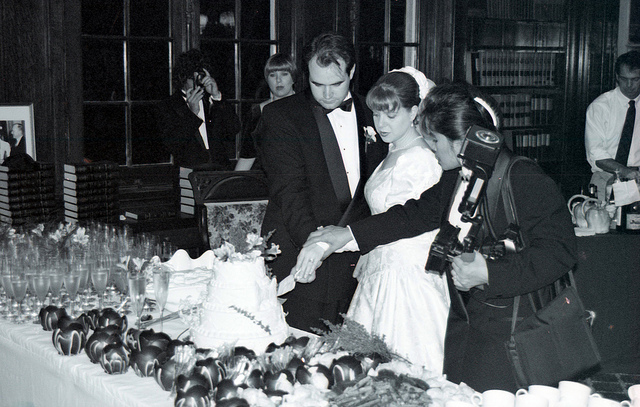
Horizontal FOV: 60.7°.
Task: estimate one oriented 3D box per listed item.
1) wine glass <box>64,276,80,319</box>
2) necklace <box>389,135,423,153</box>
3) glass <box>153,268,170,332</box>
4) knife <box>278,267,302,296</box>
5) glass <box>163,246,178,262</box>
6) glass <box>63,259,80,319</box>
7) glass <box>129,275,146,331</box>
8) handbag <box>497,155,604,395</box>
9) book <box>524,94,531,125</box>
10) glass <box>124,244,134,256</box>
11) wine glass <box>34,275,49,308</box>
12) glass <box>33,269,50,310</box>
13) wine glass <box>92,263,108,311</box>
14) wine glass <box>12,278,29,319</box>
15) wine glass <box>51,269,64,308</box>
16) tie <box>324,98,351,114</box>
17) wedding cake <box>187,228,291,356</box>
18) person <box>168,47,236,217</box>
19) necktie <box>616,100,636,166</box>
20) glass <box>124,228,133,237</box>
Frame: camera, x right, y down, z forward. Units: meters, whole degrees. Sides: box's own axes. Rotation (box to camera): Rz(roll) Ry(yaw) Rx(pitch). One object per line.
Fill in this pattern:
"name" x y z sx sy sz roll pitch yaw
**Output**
"wine glass" -1.210 0.442 2.693 0.066 0.179 0.132 -3 4 -25
"necklace" 0.465 -0.343 2.965 0.123 0.032 0.103 -29 10 -21
"glass" -0.704 0.419 2.450 0.066 0.260 0.084 -3 3 -17
"knife" -0.134 0.372 2.529 0.051 0.061 0.174 -47 5 43
"glass" -0.862 0.293 3.196 0.073 0.083 0.072 -2 9 -27
"glass" -1.215 0.405 2.694 0.077 0.252 0.117 -3 4 -25
"glass" -0.814 0.436 2.469 0.070 0.242 0.088 -3 3 -19
"handbag" 0.940 0.290 2.274 0.372 0.973 0.738 0 4 33
"book" 2.540 -1.158 6.697 0.063 0.279 0.272 3 -4 9
"glass" -1.032 0.252 2.980 0.052 0.053 0.094 6 -7 -17
"wine glass" -1.360 0.425 2.675 0.055 0.167 0.091 -4 4 -36
"glass" -1.348 0.396 2.661 0.072 0.154 0.046 -2 3 -1
"wine glass" -1.098 0.403 2.749 0.070 0.212 0.134 -3 4 -22
"wine glass" -1.454 0.452 2.695 0.071 0.187 0.171 -3 4 -21
"wine glass" -1.297 0.413 2.712 0.056 0.188 0.087 -4 4 -36
"tie" 0.107 -0.549 3.063 0.104 0.057 0.086 -9 31 1
"wedding cake" -0.330 0.384 2.392 0.478 0.530 0.454 2 -2 -43
"person" -1.126 -0.750 5.182 0.602 1.663 1.382 -2 3 -2
"necktie" 2.829 -0.663 5.063 0.163 0.585 0.051 -1 3 18
"glass" -1.163 0.175 3.328 0.040 0.042 0.039 -1 12 0
